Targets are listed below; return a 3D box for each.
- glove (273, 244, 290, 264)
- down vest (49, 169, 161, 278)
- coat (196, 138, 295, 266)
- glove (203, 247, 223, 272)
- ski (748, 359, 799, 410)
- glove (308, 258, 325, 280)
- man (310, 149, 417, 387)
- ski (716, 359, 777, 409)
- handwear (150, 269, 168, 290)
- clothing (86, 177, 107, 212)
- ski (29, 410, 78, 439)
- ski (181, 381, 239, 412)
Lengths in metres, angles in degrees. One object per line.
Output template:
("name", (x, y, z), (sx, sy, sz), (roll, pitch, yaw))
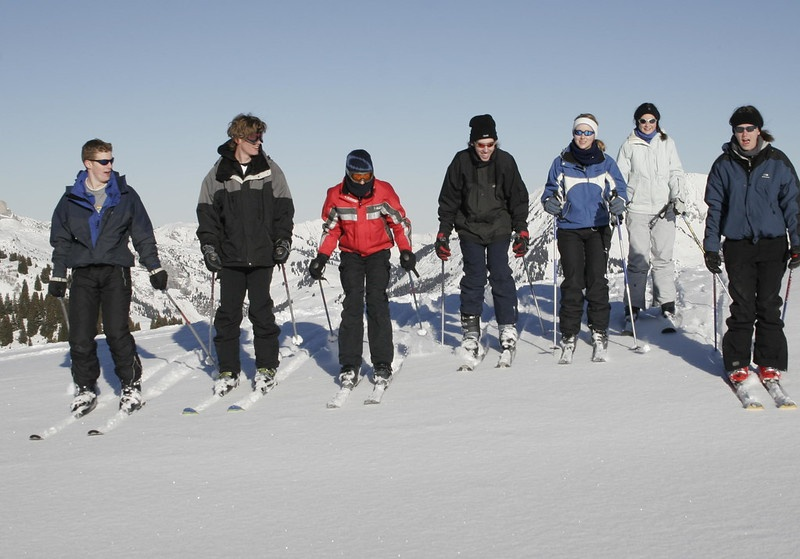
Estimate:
("glove", (-1.596, -0.362, 9.277), (0.204, 0.295, 0.112), (9, -11, 15))
("down vest", (-3.876, -0.641, 8.828), (1.299, 1.389, 0.563), (-1, -6, -13))
("coat", (-2.138, -1.007, 9.359), (1.299, 1.743, 0.591), (-6, 13, -13))
("glove", (-2.565, -0.267, 9.390), (0.158, 0.374, 0.199), (-23, 5, -26))
("ski", (4.702, 1.357, 8.502), (0.169, 0.197, 0.659), (-6, 27, 10))
("glove", (-1.129, -0.161, 9.430), (0.099, 0.286, 0.200), (22, -5, 20))
("man", (-0.497, -0.127, 9.426), (1.348, 3.220, 0.796), (-3, 12, 0))
("ski", (4.388, 1.375, 8.643), (0.228, 0.289, 0.797), (-9, 48, 10))
("handwear", (-3.193, 0.007, 9.093), (0.210, 0.307, 0.140), (-4, 11, 9))
("clothing", (-4.001, -1.099, 9.034), (0.285, 0.421, 0.212), (-2, -8, -5))
("ski", (-4.367, 1.874, 8.679), (0.122, 0.129, 0.570), (-13, 6, 13))
("ski", (-2.596, 1.624, 9.357), (0.189, 0.206, 0.881), (11, 26, 16))
